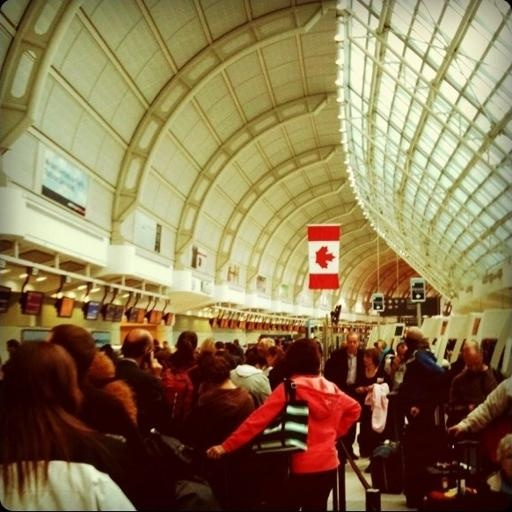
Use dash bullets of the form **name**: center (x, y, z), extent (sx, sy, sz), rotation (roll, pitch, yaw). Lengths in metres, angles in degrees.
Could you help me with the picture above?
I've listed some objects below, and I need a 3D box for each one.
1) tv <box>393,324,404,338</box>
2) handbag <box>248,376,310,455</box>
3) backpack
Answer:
- **tv**: center (10.928, 5.828, 30.954), extent (0.247, 0.909, 0.927), rotation (12, 14, 43)
- **handbag**: center (0.183, 1.524, 3.721), extent (0.202, 0.586, 0.567), rotation (20, -38, -41)
- **backpack**: center (-1.153, 1.957, 5.617), extent (0.504, 0.742, 0.417), rotation (6, 8, -11)
